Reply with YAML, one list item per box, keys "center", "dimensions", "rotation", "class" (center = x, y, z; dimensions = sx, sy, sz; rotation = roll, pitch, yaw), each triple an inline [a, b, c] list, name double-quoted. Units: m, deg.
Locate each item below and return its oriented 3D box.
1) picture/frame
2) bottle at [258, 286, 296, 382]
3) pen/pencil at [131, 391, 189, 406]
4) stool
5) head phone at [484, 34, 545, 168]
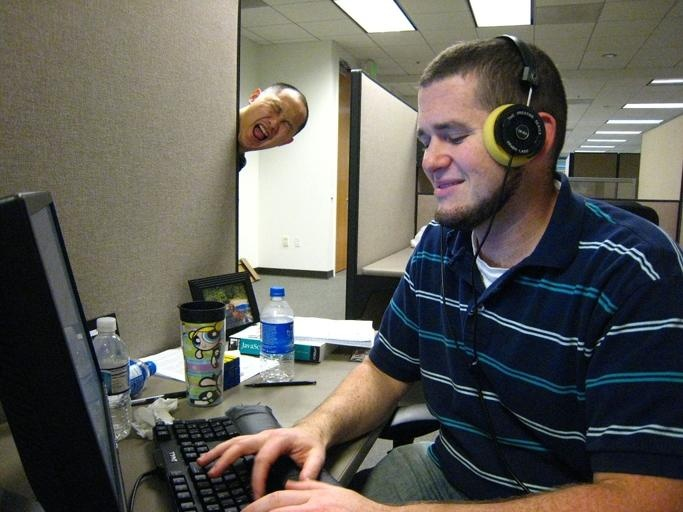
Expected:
- center: [-0.336, 0.145, 1.527]
  dimensions: [0.232, 0.181, 0.023]
  rotation: [-8, 7, 32]
  class: "picture/frame"
- center: [-0.151, 0.189, 1.259]
  dimensions: [0.107, 0.233, 0.105]
  rotation: [0, 11, 0]
  class: "bottle"
- center: [-0.379, 0.297, 1.094]
  dimensions: [0.060, 0.019, 0.014]
  rotation: [-7, 49, -6]
  class: "pen/pencil"
- center: [0.120, 0.398, 1.169]
  dimensions: [0.161, 0.257, 0.153]
  rotation: [1, -1, 2]
  class: "stool"
- center: [0.314, -0.288, 0.954]
  dimensions: [0.101, 0.251, 0.129]
  rotation: [0, 9, 26]
  class: "head phone"
